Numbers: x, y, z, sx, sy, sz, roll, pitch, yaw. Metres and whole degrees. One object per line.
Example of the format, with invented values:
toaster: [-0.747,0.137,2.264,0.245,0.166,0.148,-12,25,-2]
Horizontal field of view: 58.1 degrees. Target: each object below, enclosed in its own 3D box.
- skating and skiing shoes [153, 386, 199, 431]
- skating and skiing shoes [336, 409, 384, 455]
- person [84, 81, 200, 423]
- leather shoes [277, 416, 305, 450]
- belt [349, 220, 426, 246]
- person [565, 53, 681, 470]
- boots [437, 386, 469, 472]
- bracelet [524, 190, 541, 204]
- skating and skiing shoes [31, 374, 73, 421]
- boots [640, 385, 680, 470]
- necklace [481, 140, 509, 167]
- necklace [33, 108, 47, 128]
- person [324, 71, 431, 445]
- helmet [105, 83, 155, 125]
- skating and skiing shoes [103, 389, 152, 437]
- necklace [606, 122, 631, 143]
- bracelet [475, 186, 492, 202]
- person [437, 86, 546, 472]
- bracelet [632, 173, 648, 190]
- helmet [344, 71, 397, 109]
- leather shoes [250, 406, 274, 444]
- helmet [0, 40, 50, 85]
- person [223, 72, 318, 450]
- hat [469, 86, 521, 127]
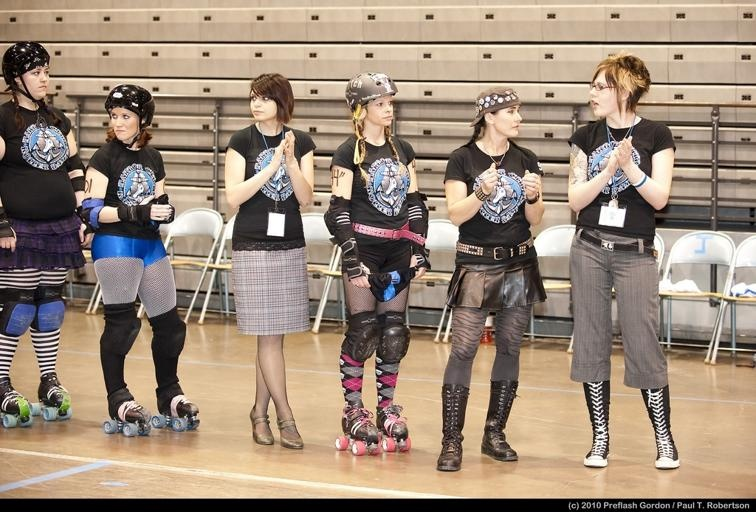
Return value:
skating and skiing shoes: [-1.401,1.078,4.725,0.352,0.249,0.241,-3,-8,34]
skating and skiing shoes: [-0.114,1.096,4.288,0.236,0.292,0.401,0,-5,-23]
person: [-1.626,0.021,4.592,0.667,2.348,0.484,-1,5,-24]
leather shoes: [-0.557,1.126,4.308,0.095,0.098,0.255,1,10,-26]
belt: [0.073,-0.137,4.202,0.308,0.074,0.191,11,-3,-12]
person: [1.441,0.032,3.968,0.657,2.422,0.411,2,4,15]
boots: [0.439,1.005,4.040,0.157,0.461,0.285,1,5,11]
bracelet: [0.933,-0.356,4.077,0.065,0.071,0.033,-8,6,-8]
skating and skiing shoes: [-2.371,1.029,4.954,0.175,0.280,0.450,7,-4,-42]
boots: [1.690,0.994,4.049,0.212,0.482,0.280,3,5,33]
necklace: [0.721,-0.614,4.083,0.136,0.112,0.040,-4,-18,-2]
necklace: [-2.366,-0.966,4.761,0.037,0.117,0.076,-23,-12,38]
person: [-0.008,0.015,4.262,0.652,2.303,0.396,0,4,-7]
helmet: [-1.679,-1.039,4.651,0.252,0.243,0.319,12,22,28]
skating and skiing shoes: [-1.686,1.056,4.568,0.369,0.278,0.236,0,6,38]
necklace: [1.407,-0.720,3.969,0.155,0.147,0.042,2,7,9]
bracelet: [0.609,-0.356,3.936,0.061,0.077,0.078,-10,29,21]
person: [0.683,0.116,4.126,0.698,2.259,0.534,0,4,-5]
bracelet: [1.487,-0.419,3.844,0.058,0.078,0.079,6,30,-13]
helmet: [-0.047,-1.030,4.249,0.280,0.195,0.213,1,9,18]
leather shoes: [-0.758,1.121,4.403,0.100,0.114,0.287,0,3,-19]
helmet: [-2.480,-1.364,4.828,0.326,0.308,0.286,14,8,15]
person: [-0.697,0.029,4.347,0.539,2.364,0.417,0,4,-4]
hat: [0.696,-0.912,4.132,0.259,0.160,0.205,-4,12,35]
